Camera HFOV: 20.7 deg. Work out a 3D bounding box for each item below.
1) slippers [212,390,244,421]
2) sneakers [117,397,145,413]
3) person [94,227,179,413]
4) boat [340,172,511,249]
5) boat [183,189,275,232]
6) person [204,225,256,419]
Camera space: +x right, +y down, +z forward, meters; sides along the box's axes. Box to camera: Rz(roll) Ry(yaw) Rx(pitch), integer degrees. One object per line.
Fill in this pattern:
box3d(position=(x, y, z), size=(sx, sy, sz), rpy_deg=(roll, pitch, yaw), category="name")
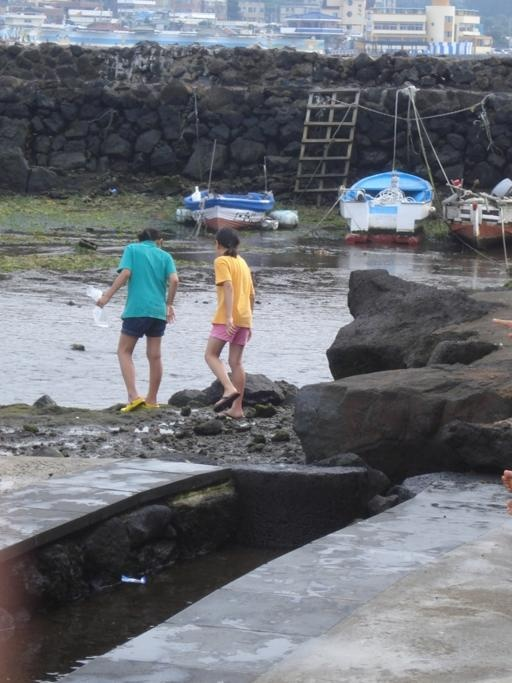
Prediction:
box3d(position=(-0.184, 0.441, 9.267), size=(0.102, 0.100, 0.238), rpy_deg=(22, -41, -21), category="slippers")
box3d(position=(-0.821, 0.439, 9.399), size=(0.192, 0.081, 0.070), rpy_deg=(-26, 12, 26), category="sneakers")
box3d(position=(-0.813, -0.154, 9.608), size=(0.420, 1.235, 0.643), rpy_deg=(6, 9, 24), category="person")
box3d(position=(3.064, -2.401, 25.423), size=(1.947, 0.838, 2.605), rpy_deg=(-4, 11, -24), category="boat")
box3d(position=(-0.448, -2.469, 26.709), size=(1.250, 0.864, 2.705), rpy_deg=(-2, 1, 21), category="boat")
box3d(position=(-0.177, -0.134, 9.449), size=(0.310, 1.251, 0.729), rpy_deg=(2, 8, -1), category="person")
